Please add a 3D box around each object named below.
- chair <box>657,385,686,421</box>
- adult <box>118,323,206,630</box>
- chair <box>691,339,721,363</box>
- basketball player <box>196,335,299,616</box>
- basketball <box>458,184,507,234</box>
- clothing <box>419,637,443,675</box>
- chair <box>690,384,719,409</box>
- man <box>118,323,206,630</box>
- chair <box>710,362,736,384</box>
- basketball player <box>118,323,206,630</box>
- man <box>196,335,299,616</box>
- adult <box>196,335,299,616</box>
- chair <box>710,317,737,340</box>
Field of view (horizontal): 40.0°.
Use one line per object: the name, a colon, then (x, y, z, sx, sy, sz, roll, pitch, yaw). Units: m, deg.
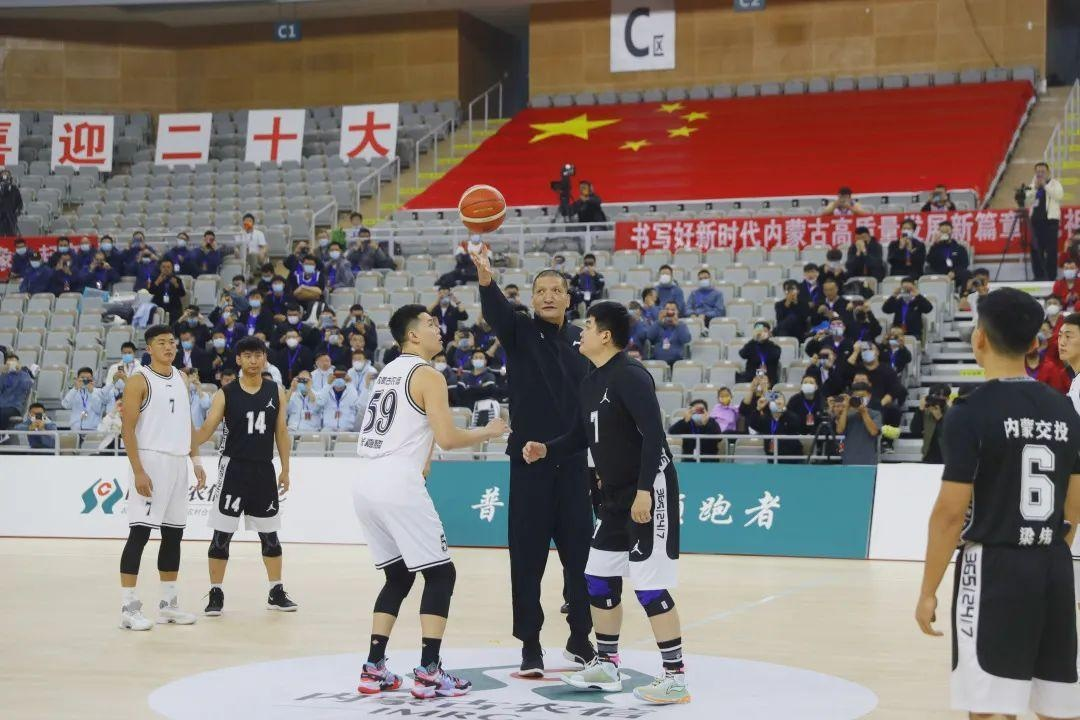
chair: (2.070, 0.662, 23.554, 0.468, 0.669, 0.541, -1, -12, 4)
adult: (-4.688, 1.401, 18.038, 0.757, 3.646, 0.876, 1, 0, 9)
chair: (2.795, -0.186, 25.089, 0.374, 0.449, 0.496, 5, 4, 5)
basketball player: (-3.684, 1.415, 18.569, 1.087, 3.400, 0.492, 1, 0, -12)
basketball: (-0.584, -1.667, 16.591, 0.518, 0.544, 0.533, 4, -2, -40)
clothing: (-1.196, 3.159, 15.873, 0.217, 0.384, 0.165, 1, 0, 2)
chair: (2.610, 0.569, 23.586, 0.313, 0.449, 0.391, 0, -12, 9)
man: (-4.691, 1.401, 18.025, 0.755, 3.646, 0.849, 1, 0, 9)
chair: (2.998, 0.230, 24.240, 0.333, 0.437, 0.357, 0, -8, 10)
basketball player: (-4.694, 1.401, 18.022, 0.768, 3.646, 0.830, 1, 0, 5)
man: (-3.689, 1.415, 18.565, 1.072, 3.400, 0.488, 1, 0, -12)
adult: (-3.696, 1.415, 18.563, 1.085, 3.400, 0.486, 1, 0, -12)
chair: (3.143, -0.537, 25.440, 0.379, 0.346, 0.382, 4, 1, 11)
